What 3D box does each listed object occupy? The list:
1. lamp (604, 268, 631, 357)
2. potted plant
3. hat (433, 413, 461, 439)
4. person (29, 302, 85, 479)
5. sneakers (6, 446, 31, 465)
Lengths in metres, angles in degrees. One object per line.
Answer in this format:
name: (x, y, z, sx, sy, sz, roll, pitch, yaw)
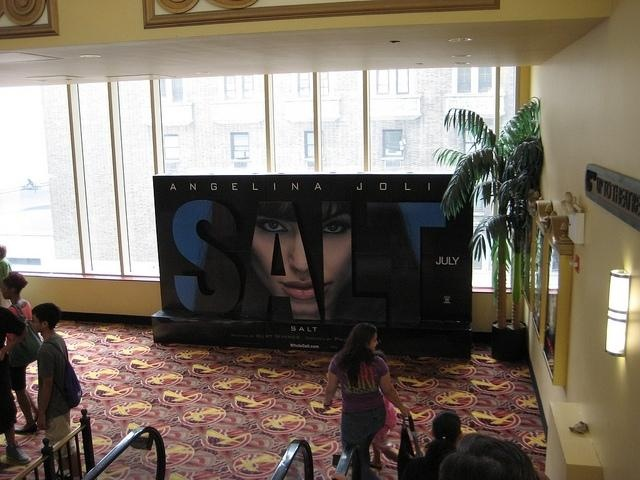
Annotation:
lamp: (2.036, 0.510, 3.418, 0.103, 0.597, 0.237, 2, 13, 14)
potted plant: (2.458, -0.047, 7.144, 1.199, 3.860, 1.394, 3, 13, 21)
hat: (0.905, 1.347, 3.563, 0.161, 0.200, 0.192, 2, 50, 14)
person: (-2.540, 1.347, 4.805, 0.387, 1.491, 0.271, -8, 14, -26)
sneakers: (-3.274, 2.345, 5.386, 0.352, 0.162, 0.127, 4, 2, 15)
